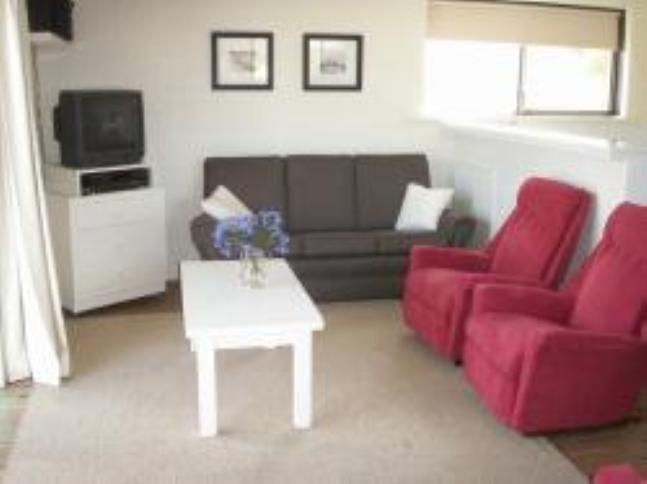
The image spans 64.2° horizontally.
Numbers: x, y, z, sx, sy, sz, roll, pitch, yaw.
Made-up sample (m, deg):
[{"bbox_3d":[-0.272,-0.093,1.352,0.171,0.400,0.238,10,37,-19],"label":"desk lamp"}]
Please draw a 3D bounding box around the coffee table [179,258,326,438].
[{"bbox_3d":[-0.199,0.191,1.423,0.336,0.285,0.619,-2,15,-12],"label":"coffee table"}]

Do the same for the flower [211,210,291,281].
[{"bbox_3d":[-0.176,-0.004,1.445,0.184,0.190,0.187,1,7,28],"label":"flower"}]

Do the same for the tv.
[{"bbox_3d":[-0.804,-0.406,1.823,0.325,0.310,0.178,-12,47,-41],"label":"tv"}]
